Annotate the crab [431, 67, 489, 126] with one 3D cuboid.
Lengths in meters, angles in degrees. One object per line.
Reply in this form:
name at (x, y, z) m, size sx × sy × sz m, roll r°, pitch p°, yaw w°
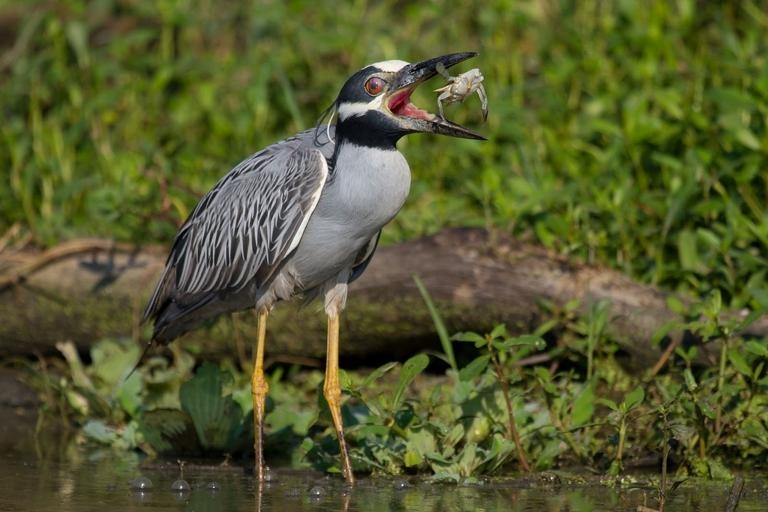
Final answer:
crab at (0.427, -1.229, 8.106) m, size 0.417 × 0.506 × 0.721 m, roll -1°, pitch -6°, yaw 19°
